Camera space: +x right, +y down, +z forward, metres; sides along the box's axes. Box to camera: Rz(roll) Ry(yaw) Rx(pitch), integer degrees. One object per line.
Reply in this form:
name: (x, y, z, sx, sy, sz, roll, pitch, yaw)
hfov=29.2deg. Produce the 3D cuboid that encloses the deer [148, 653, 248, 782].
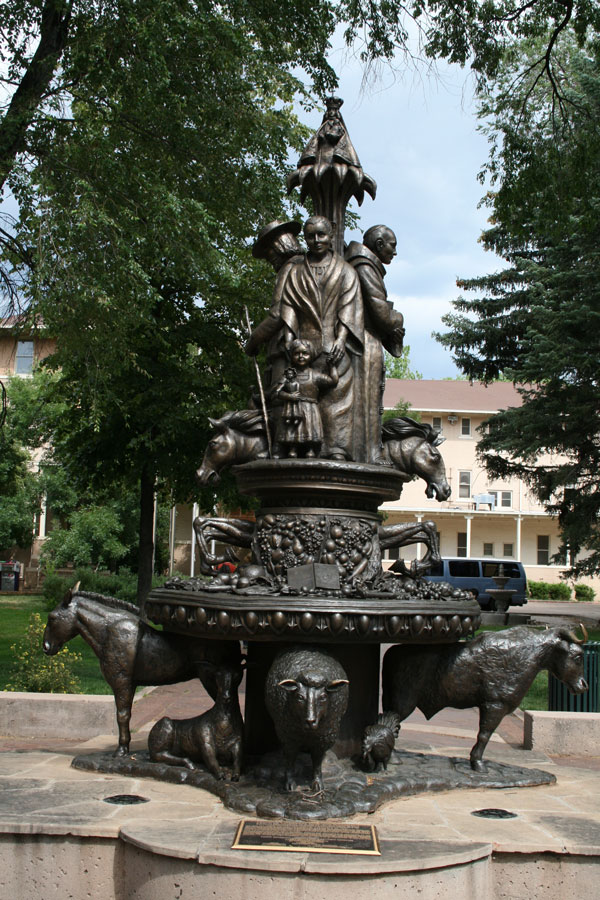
deer: (-0.618, 1.829, 7.891, 0.396, 0.697, 0.770, 3, -5, -44)

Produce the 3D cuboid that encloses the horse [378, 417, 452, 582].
horse: (0.889, 0.338, 8.883, 0.524, 1.289, 1.140, -1, -4, 6)

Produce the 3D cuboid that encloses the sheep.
sheep: (0.045, 1.679, 7.147, 0.505, 0.854, 0.416, -3, -4, 37)

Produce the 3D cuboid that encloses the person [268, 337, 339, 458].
person: (0.044, -0.333, 8.447, 0.434, 0.890, 0.425, 2, -4, -2)

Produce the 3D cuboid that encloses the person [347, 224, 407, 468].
person: (0.551, -0.828, 9.207, 0.567, 1.851, 0.539, 3, 4, 7)

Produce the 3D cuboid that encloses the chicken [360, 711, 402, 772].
chicken: (0.545, 1.997, 7.859, 0.275, 0.366, 0.458, -1, -4, 6)

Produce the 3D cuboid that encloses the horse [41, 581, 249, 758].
horse: (-1.107, 1.589, 8.299, 1.532, 1.046, 0.431, 2, 1, 9)

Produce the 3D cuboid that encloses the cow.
cow: (1.295, 1.752, 8.110, 1.413, 0.990, 0.357, -1, -3, 5)
